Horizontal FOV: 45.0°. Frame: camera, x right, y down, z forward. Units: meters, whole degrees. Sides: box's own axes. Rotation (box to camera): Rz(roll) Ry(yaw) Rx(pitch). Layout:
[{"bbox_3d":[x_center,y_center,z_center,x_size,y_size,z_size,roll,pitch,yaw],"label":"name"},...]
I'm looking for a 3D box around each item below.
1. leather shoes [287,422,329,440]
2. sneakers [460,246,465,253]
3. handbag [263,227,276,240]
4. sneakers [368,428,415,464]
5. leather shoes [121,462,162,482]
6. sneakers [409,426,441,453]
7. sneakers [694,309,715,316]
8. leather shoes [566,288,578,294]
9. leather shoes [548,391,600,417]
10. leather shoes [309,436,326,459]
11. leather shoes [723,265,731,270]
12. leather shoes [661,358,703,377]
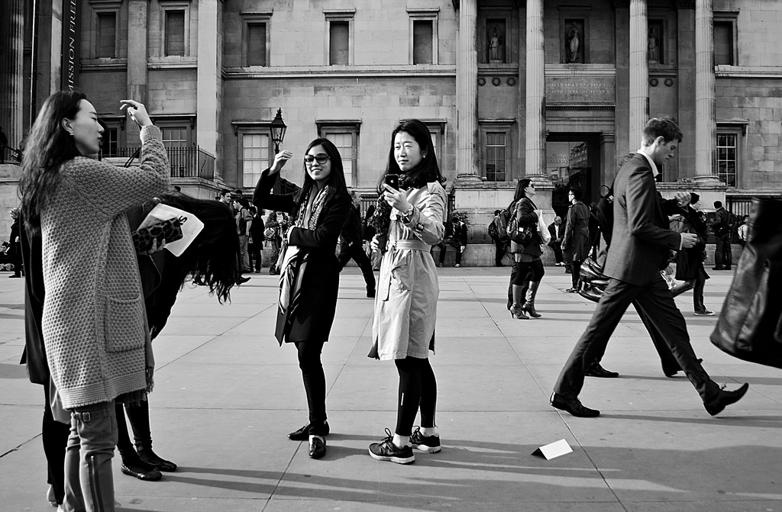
[{"bbox_3d":[-0.812,1.631,8.801,0.473,0.162,0.151,-2,-5,0],"label":"leather shoes"},{"bbox_3d":[2.374,-0.219,30.949,0.146,0.186,0.076,-2,-4,-15],"label":"sneakers"},{"bbox_3d":[-1.342,-0.262,10.399,0.170,0.063,0.183,-2,-9,0],"label":"handbag"},{"bbox_3d":[0.008,1.757,8.547,0.461,0.245,0.218,2,-12,19],"label":"sneakers"},{"bbox_3d":[-2.160,1.858,8.169,0.320,0.087,0.132,2,15,24],"label":"leather shoes"},{"bbox_3d":[0.288,1.699,8.700,0.149,0.154,0.369,0,1,-42],"label":"sneakers"},{"bbox_3d":[5.016,0.916,15.192,0.364,0.131,0.120,-1,4,3],"label":"sneakers"},{"bbox_3d":[3.610,0.699,18.950,0.239,0.094,0.087,3,0,43],"label":"leather shoes"},{"bbox_3d":[1.796,1.480,9.513,0.605,0.231,0.194,10,4,0],"label":"leather shoes"},{"bbox_3d":[-0.664,1.725,8.495,0.107,0.097,0.231,2,7,3],"label":"leather shoes"},{"bbox_3d":[10.143,0.353,28.450,0.200,0.186,0.155,0,14,36],"label":"leather shoes"},{"bbox_3d":[3.083,1.177,10.000,0.277,0.185,0.252,-15,17,33],"label":"leather shoes"}]
